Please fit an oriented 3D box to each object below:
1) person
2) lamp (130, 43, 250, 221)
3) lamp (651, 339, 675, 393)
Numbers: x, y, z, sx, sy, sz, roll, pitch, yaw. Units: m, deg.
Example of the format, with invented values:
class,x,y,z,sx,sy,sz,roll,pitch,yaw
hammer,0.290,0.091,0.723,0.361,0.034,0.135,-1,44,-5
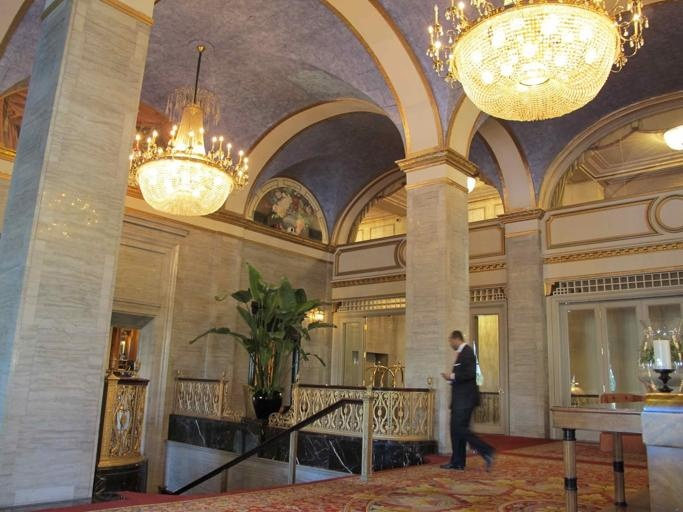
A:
class,x,y,z,sx,sy,sz,roll,pitch,yaw
person,1.596,1.854,6.388,0.618,1.825,1.082,-3,-16,11
lamp,-2.950,-2.511,9.184,1.961,3.026,1.991,-19,-37,30
lamp,2.241,0.745,3.356,0.127,0.356,0.070,-10,-18,33
